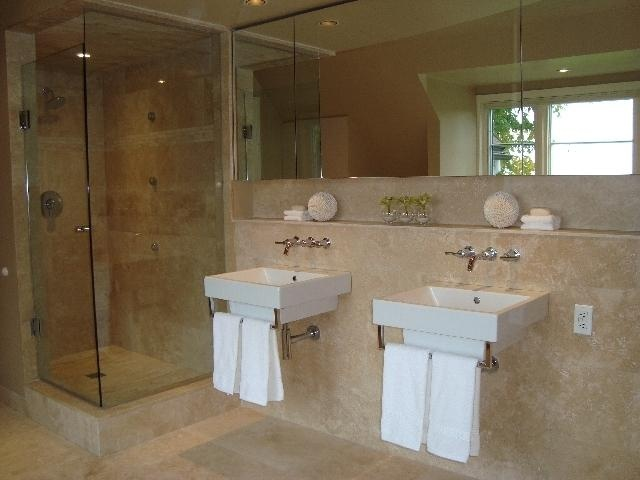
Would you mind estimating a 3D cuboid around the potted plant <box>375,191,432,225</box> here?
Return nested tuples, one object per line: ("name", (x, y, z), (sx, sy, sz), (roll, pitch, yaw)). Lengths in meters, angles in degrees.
("potted plant", (0.543, -0.204, 3.411), (0.375, 0.190, 0.190), (3, 10, 24))

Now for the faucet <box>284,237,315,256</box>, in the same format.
("faucet", (-0.162, 0.044, 3.659), (0.240, 0.121, 0.124), (6, 11, 38))

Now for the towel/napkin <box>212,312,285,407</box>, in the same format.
("towel/napkin", (-0.431, 0.718, 3.293), (0.663, 0.637, 0.192), (8, 13, 41))

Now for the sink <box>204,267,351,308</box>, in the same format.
("sink", (-0.265, 0.301, 3.449), (0.761, 0.178, 0.609), (6, 11, 36))

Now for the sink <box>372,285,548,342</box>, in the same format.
("sink", (0.746, 0.390, 2.789), (0.800, 0.198, 0.561), (4, 10, 29))

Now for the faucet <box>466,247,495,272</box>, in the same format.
("faucet", (0.900, 0.107, 2.949), (0.149, 0.046, 0.110), (-25, 13, -31))
